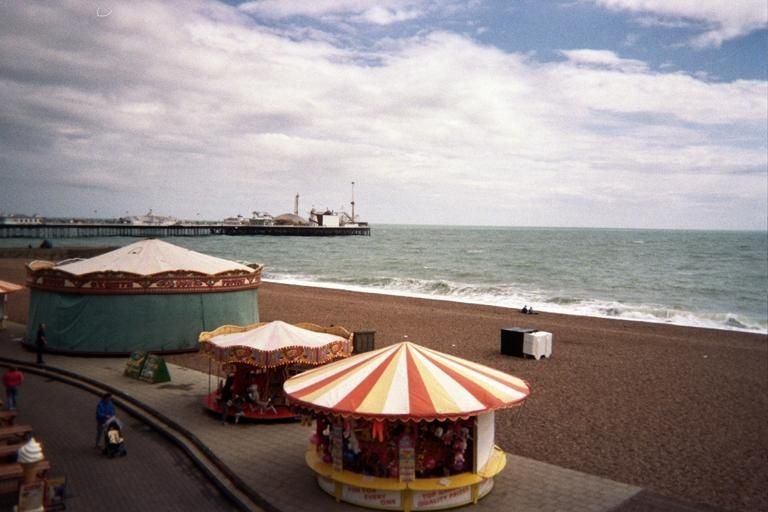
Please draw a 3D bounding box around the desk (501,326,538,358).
[{"bbox_3d":[5.759,3.773,23.089,1.576,1.085,1.475,1,2,-28],"label":"desk"}]

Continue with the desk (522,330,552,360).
[{"bbox_3d":[6.581,3.770,22.269,1.157,1.014,1.121,-5,9,-30],"label":"desk"}]
